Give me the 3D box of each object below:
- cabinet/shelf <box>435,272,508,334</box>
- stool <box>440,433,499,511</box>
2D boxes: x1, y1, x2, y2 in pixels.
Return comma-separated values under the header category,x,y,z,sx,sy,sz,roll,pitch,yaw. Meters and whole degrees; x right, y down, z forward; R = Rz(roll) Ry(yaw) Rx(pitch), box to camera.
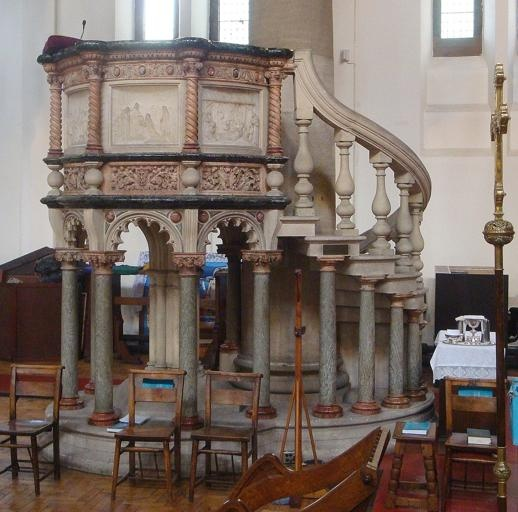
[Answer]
category,x,y,z,sx,sy,sz,roll,pitch,yaw
cabinet/shelf,2.826,0.674,13.511,0.785,0.868,0.848,0,-3,14
stool,1.607,1.644,7.733,0.629,0.661,0.496,1,-10,8
